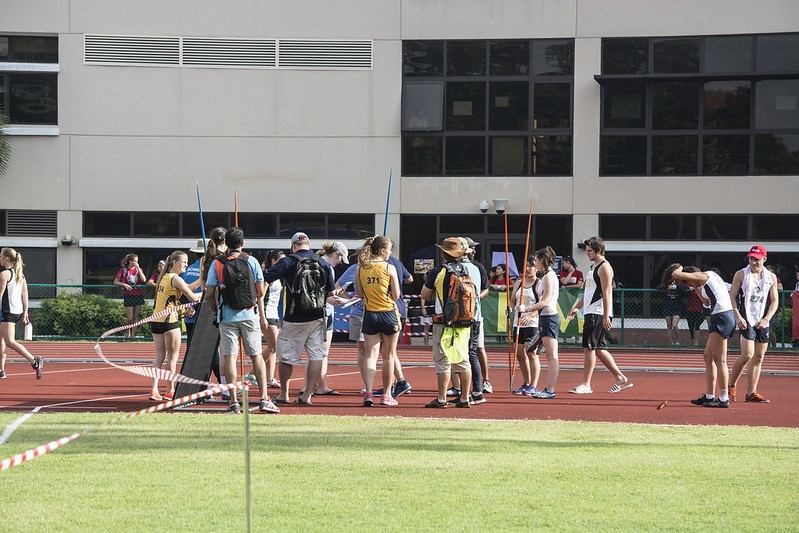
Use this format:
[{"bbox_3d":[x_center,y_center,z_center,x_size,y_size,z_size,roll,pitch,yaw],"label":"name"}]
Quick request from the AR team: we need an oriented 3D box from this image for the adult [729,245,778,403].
[{"bbox_3d":[8.767,1.365,39.702,1.281,3.893,1.248,5,-6,-26],"label":"adult"}]

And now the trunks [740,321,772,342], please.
[{"bbox_3d":[8.801,1.618,39.547,0.707,0.547,0.408,0,-1,-12],"label":"trunks"}]

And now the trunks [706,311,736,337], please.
[{"bbox_3d":[7.936,1.367,39.216,0.553,0.644,0.799,5,0,32],"label":"trunks"}]

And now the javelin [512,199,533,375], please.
[{"bbox_3d":[3.418,0.608,44.141,0.127,5.012,0.102,6,0,19],"label":"javelin"}]

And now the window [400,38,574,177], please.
[{"bbox_3d":[3.047,-5.301,52.041,4.315,3.391,0.150,1,4,3],"label":"window"}]
